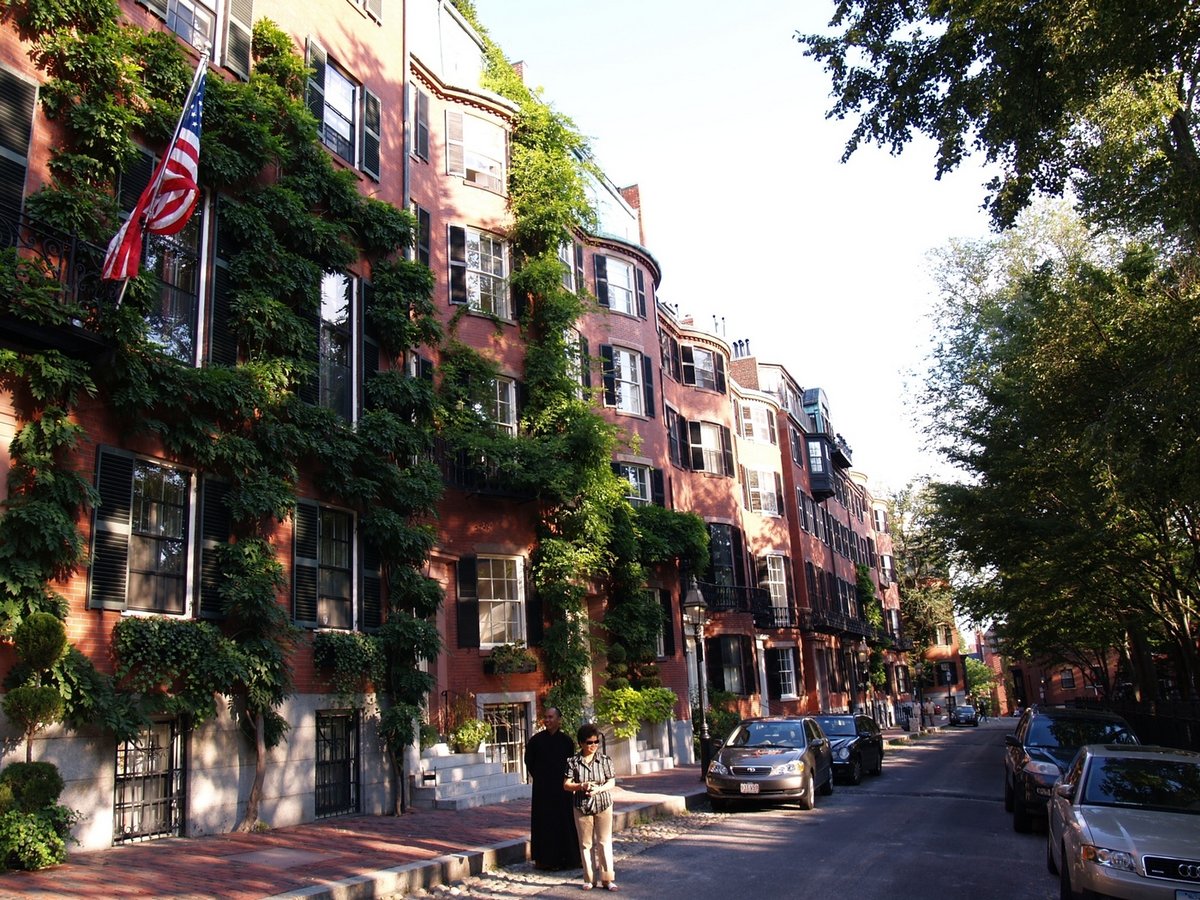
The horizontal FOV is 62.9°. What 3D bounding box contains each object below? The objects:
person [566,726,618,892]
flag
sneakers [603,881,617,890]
[{"bbox_3d":[-0.126,4.794,13.233,0.642,2.106,0.746,-3,-19,-3],"label":"person"},{"bbox_3d":[-6.752,-4.253,15.032,1.104,4.009,0.978,6,-21,-27],"label":"flag"},{"bbox_3d":[0.141,5.694,12.856,0.171,0.120,0.219,-5,-21,-1],"label":"sneakers"}]
